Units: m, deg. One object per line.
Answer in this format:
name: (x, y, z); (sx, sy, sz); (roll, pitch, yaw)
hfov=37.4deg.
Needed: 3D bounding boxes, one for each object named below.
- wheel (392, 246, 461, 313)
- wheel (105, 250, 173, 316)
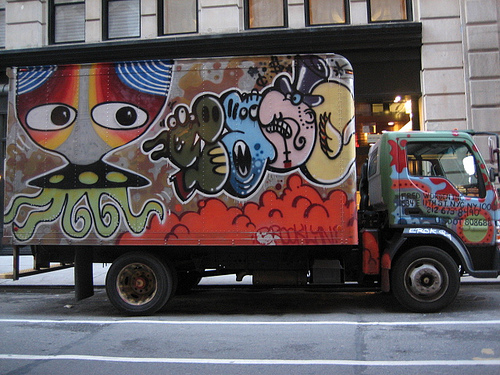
wheel: (3.608, 1.849, 15.105); (1.096, 1.350, 0.463); (1, -3, 7)
wheel: (-2.309, 1.960, 15.320); (1.078, 1.325, 0.431); (2, 4, 7)
